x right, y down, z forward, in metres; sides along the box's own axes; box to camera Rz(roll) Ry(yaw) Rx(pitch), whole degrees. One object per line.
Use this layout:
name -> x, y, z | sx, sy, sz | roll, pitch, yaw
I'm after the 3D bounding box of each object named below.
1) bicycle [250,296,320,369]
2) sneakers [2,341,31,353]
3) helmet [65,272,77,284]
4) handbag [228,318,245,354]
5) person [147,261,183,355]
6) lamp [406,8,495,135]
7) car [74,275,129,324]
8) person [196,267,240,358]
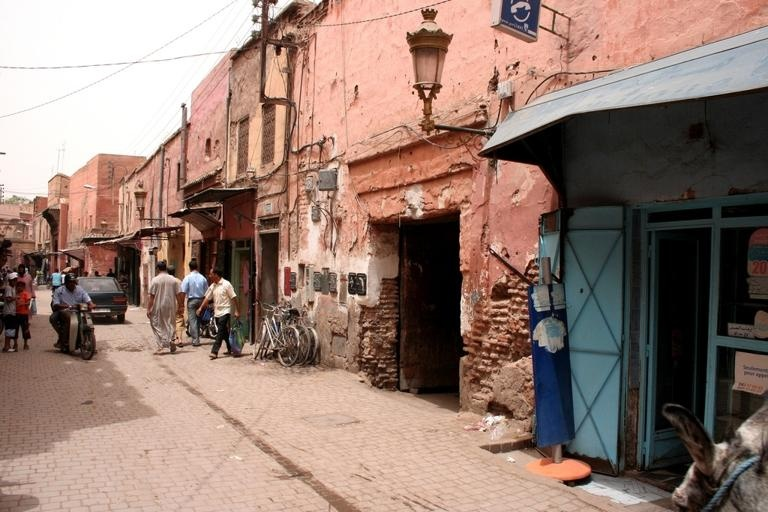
bicycle -> -2.032, 1.672, 12.908 | 0.877, 1.159, 1.433 | -1, 3, -39
sneakers -> -8.483, 2.126, 14.161 | 0.622, 0.274, 0.211 | -3, 3, -19
helmet -> -6.863, 0.495, 13.402 | 0.260, 0.247, 0.202 | -2, 3, 23
handbag -> -3.359, 1.853, 13.967 | 0.326, 1.006, 0.784 | -1, -5, 3
person -> -5.030, 1.179, 14.075 | 0.643, 2.101, 0.956 | 0, 3, -17
lamp -> 0.773, -2.499, 8.271 | 0.604, 1.575, 0.915 | 3, 4, 37
car -> -9.390, 1.823, 20.544 | 1.834, 1.406, 3.985 | 2, 5, -22
person -> -3.640, 1.274, 13.518 | 0.901, 2.010, 1.006 | 2, 4, 22
